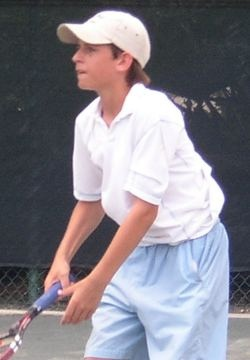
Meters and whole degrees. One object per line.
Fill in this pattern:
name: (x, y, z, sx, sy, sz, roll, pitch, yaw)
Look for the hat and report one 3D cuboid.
hat: (-0.041, -0.480, 1.835, 0.334, 0.150, 0.186, 19, 9, -23)
